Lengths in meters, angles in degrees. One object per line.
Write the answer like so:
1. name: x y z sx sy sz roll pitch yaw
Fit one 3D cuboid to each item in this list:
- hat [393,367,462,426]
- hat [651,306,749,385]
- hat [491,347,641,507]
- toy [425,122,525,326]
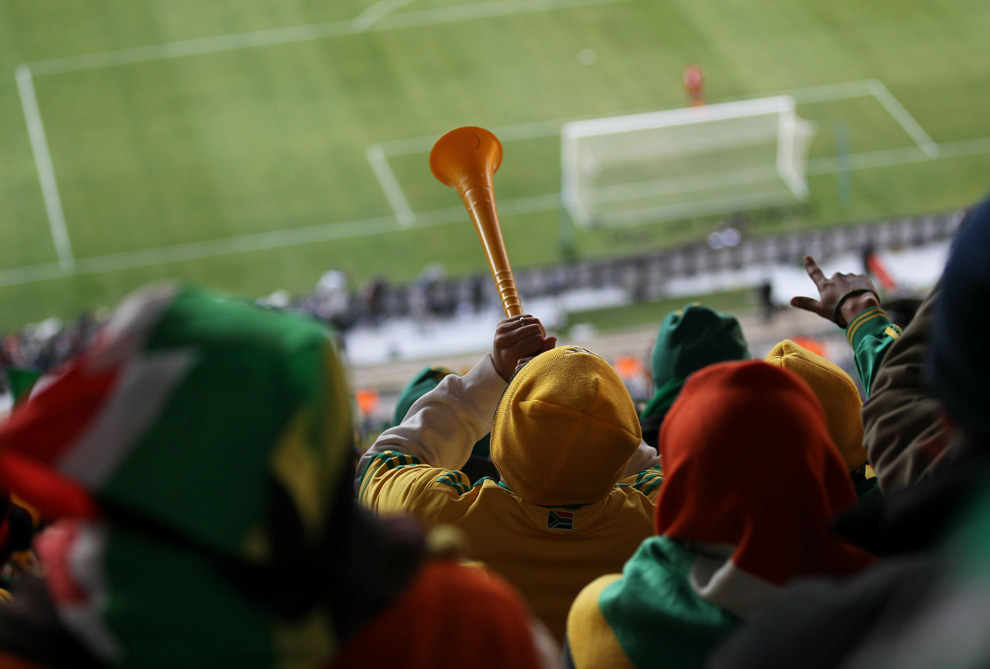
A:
1. hat: -0.322 0.287 6.090 0.285 0.112 0.223 -45 -5 31
2. hat: 0.923 0.034 6.230 0.411 0.379 0.306 -2 2 11
3. hat: 0.327 0.349 5.621 0.452 0.516 0.655 18 25 -7
4. toy: -0.129 -0.578 8.128 0.487 0.494 1.496 -8 49 -14
